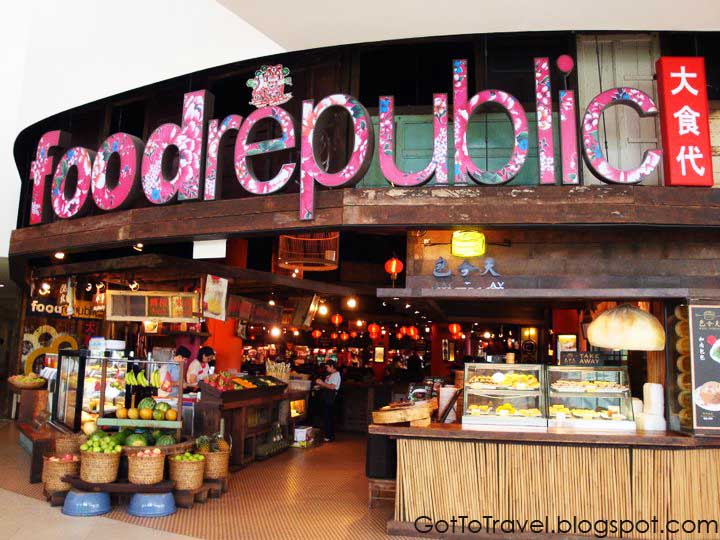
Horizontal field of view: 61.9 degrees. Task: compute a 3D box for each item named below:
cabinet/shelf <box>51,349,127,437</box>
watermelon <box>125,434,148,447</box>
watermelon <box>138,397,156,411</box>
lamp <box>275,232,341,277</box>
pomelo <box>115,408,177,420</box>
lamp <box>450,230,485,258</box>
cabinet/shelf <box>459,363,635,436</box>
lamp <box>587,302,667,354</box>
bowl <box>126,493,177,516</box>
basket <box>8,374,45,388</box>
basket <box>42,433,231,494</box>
[{"bbox_3d":[-3.835,1.712,8.576,0.534,1.170,1.946,4,-6,-45],"label":"cabinet/shelf"},{"bbox_3d":[-2.952,2.276,7.950,0.190,0.193,0.179,2,-5,-28],"label":"watermelon"},{"bbox_3d":[-2.891,1.829,8.164,0.151,0.167,0.192,-2,10,4],"label":"watermelon"},{"bbox_3d":[-0.972,-0.492,12.287,1.032,0.776,1.067,4,0,22],"label":"lamp"},{"bbox_3d":[-2.851,1.954,8.066,0.808,0.173,0.171,1,-4,-15],"label":"pomelo"},{"bbox_3d":[1.471,-0.351,8.131,0.397,0.365,0.359,0,-6,7],"label":"lamp"},{"bbox_3d":[2.394,1.630,7.696,2.104,0.811,0.397,-1,-5,5],"label":"cabinet/shelf"},{"bbox_3d":[3.369,0.739,7.467,0.676,0.424,0.675,2,-4,-23],"label":"lamp"},{"bbox_3d":[-2.662,3.016,7.709,0.383,0.167,0.388,2,-2,0],"label":"bowl"},{"bbox_3d":[-6.388,2.167,11.596,0.513,0.239,0.896,2,-4,-39],"label":"basket"},{"bbox_3d":[-3.000,2.607,7.987,1.538,0.520,1.345,-2,-10,25],"label":"basket"}]
